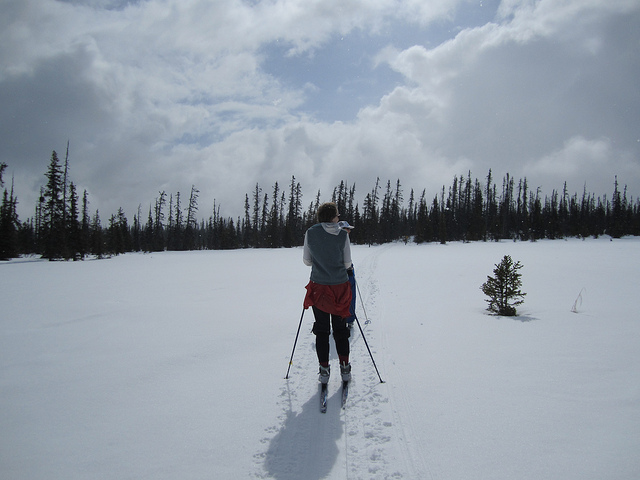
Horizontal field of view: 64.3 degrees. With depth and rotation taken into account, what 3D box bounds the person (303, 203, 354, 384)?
[{"bbox_3d":[0.177,1.111,10.768,0.984,3.723,0.971,0,7,-1],"label":"person"}]
